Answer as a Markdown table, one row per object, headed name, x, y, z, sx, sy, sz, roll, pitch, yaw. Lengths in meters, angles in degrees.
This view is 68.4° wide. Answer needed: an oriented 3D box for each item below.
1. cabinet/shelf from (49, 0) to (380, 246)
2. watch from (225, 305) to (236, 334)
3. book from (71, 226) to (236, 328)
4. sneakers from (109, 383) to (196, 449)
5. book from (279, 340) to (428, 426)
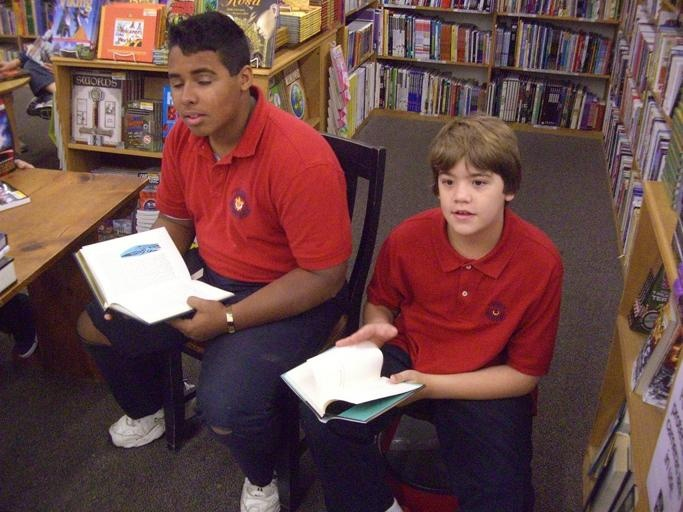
| name | x | y | z | sx | sy | sz | roll | pitch | yaw |
| --- | --- | --- | --- | --- | --- | --- | --- | --- | --- |
| cabinet/shelf | -0.865 | -1.072 | 3.264 | 1.878 | 1.377 | 1.073 | 15 | 37 | 22 |
| watch | -0.357 | 0.210 | 1.599 | 0.030 | 0.093 | 0.030 | -3 | 20 | -13 |
| book | -0.608 | 0.069 | 1.617 | 0.407 | 0.118 | 0.308 | 47 | 37 | 17 |
| sneakers | -0.782 | 0.643 | 2.101 | 0.146 | 0.176 | 0.373 | 17 | 26 | 41 |
| book | 0.027 | 0.331 | 1.322 | 0.300 | 0.077 | 0.250 | -13 | 26 | -34 |
